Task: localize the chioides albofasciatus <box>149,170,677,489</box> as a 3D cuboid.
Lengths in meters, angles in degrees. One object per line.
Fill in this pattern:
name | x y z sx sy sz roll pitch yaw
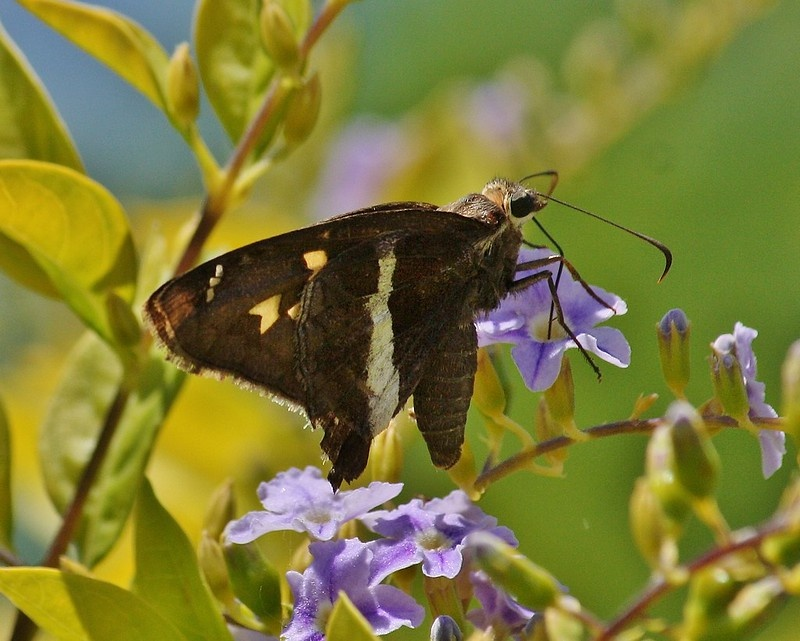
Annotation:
chioides albofasciatus | -0.022 0.026 1.887 0.758 0.368 0.312 -25 41 -30
